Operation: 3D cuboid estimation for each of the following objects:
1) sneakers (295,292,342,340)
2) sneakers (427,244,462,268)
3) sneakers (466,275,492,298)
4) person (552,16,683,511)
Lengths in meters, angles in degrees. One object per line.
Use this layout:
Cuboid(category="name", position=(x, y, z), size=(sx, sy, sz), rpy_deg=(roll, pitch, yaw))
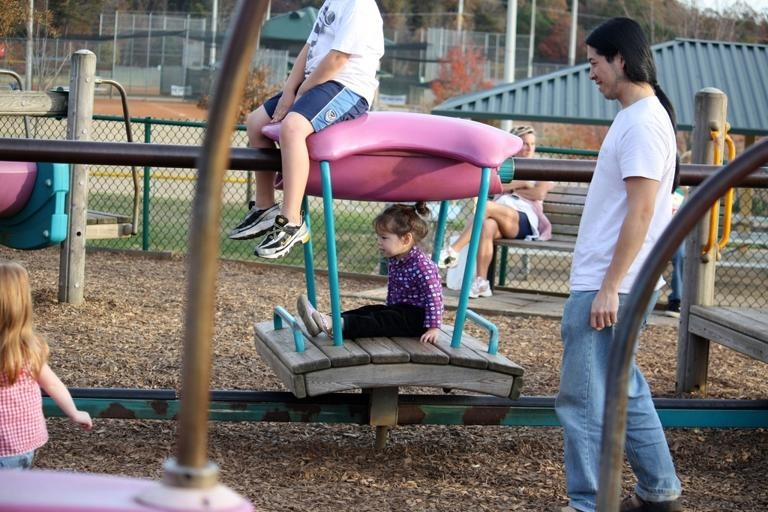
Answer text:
Cuboid(category="sneakers", position=(-0.425, 0.415, 7.286), size=(0.204, 0.446, 0.151), rpy_deg=(-3, 37, 22))
Cuboid(category="sneakers", position=(0.419, 0.002, 7.732), size=(0.100, 0.120, 0.284), rpy_deg=(0, -3, 23))
Cuboid(category="sneakers", position=(0.973, 0.315, 11.136), size=(0.146, 0.201, 0.410), rpy_deg=(5, 0, 37))
Cuboid(category="person", position=(1.446, 0.093, 6.648), size=(0.744, 2.984, 0.534), rpy_deg=(6, 9, 8))
